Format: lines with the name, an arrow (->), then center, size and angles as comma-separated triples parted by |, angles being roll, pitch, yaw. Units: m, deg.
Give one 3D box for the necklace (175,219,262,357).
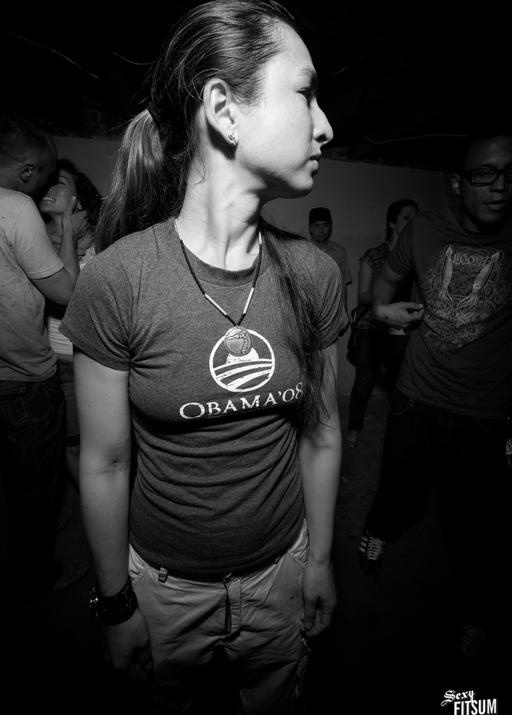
necklace -> -0.044, -0.119, 1.056 | 0.144, 0.297, 0.025 | 6, 44, 17
